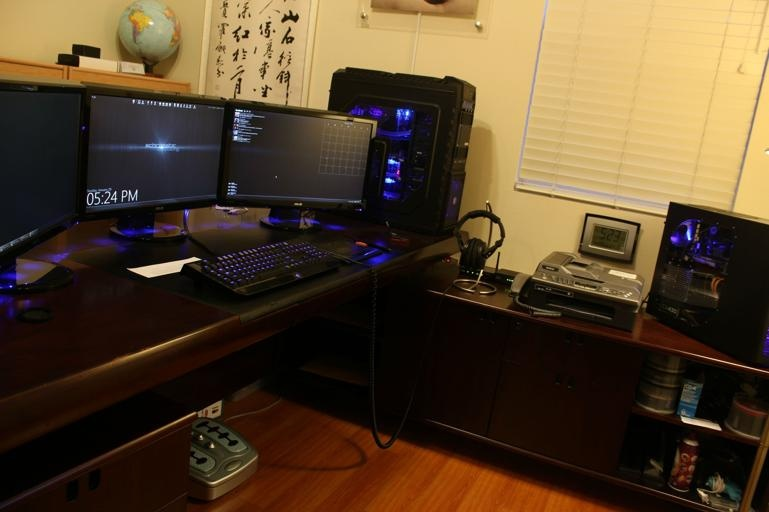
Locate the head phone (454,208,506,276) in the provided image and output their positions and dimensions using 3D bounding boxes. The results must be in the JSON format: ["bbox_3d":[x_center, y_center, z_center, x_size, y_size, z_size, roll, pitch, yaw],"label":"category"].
[{"bbox_3d":[0.467,-0.028,2.972,0.210,0.387,0.252,6,14,-9],"label":"head phone"}]

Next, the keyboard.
[{"bbox_3d":[-0.421,0.041,2.012,0.197,0.061,0.371,23,24,29],"label":"keyboard"}]

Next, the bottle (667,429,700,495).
[{"bbox_3d":[1.427,0.965,2.682,0.198,0.271,0.107,-1,19,-22],"label":"bottle"}]

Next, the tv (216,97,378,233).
[{"bbox_3d":[-0.415,-0.404,2.615,0.840,0.616,0.077,11,10,12],"label":"tv"}]

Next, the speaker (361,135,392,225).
[{"bbox_3d":[-0.038,-0.392,2.900,0.088,0.417,0.160,11,18,26],"label":"speaker"}]
